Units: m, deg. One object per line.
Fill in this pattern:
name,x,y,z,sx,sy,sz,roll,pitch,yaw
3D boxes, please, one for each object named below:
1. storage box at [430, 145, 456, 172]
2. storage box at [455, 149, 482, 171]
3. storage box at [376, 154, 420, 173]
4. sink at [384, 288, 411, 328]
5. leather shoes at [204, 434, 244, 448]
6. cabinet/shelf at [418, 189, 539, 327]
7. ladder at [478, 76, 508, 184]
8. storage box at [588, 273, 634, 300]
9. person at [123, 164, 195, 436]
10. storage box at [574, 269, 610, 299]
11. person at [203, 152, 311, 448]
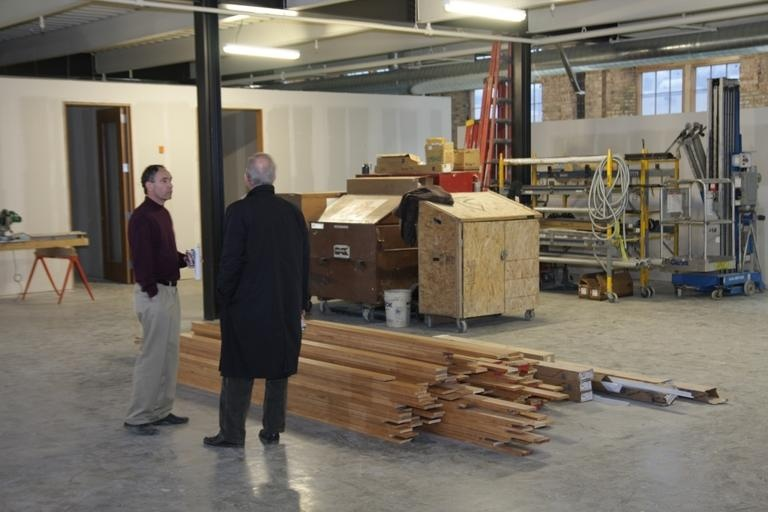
storage box,0.889,-1.570,10.627,0.457,0.389,0.466,4,8,35
storage box,1.385,-1.588,10.932,0.409,0.273,0.389,2,8,16
storage box,0.257,-1.504,10.737,0.805,0.297,0.333,1,10,12
sink,0.194,0.706,8.947,0.505,0.471,0.466,0,-1,-3
leather shoes,-1.275,1.500,5.366,0.295,0.111,0.097,9,7,25
cabinet/shelf,1.281,0.048,8.900,1.520,1.720,0.679,-6,11,-26
ladder,2.053,-2.216,11.986,0.466,1.959,0.845,3,11,22
storage box,3.645,0.453,10.783,0.687,0.388,0.469,-6,8,-40
person,-1.981,0.367,5.688,0.541,2.250,0.345,-11,14,-43
storage box,3.422,0.453,10.735,0.451,0.247,0.421,-3,4,-39
person,-1.015,0.377,5.266,0.895,2.345,0.444,-3,10,-9
